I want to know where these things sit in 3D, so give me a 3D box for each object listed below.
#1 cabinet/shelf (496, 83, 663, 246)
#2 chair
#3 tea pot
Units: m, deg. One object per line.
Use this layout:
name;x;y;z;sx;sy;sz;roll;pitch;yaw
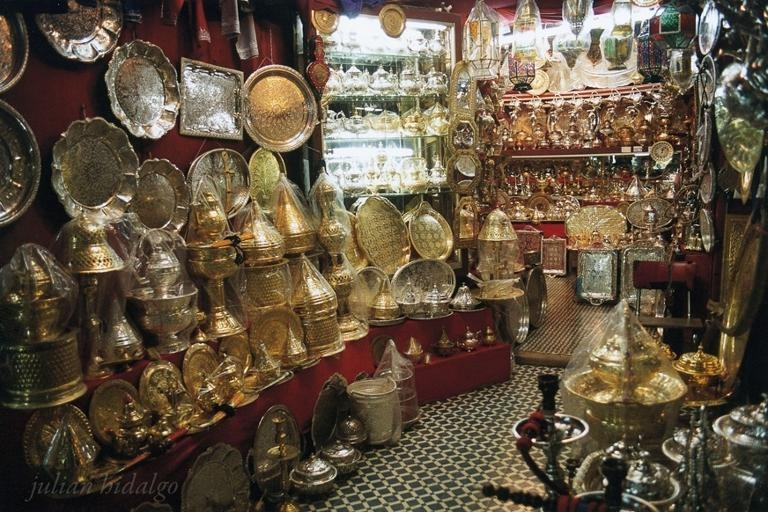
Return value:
cabinet/shelf;2.347;-1.075;7.298;1.860;1.821;0.677;3;8;23
chair;1.974;0.340;4.279;0.466;0.664;0.507;0;25;18
tea pot;-0.021;-1.055;5.018;1.105;1.019;0.360;-1;0;-28
